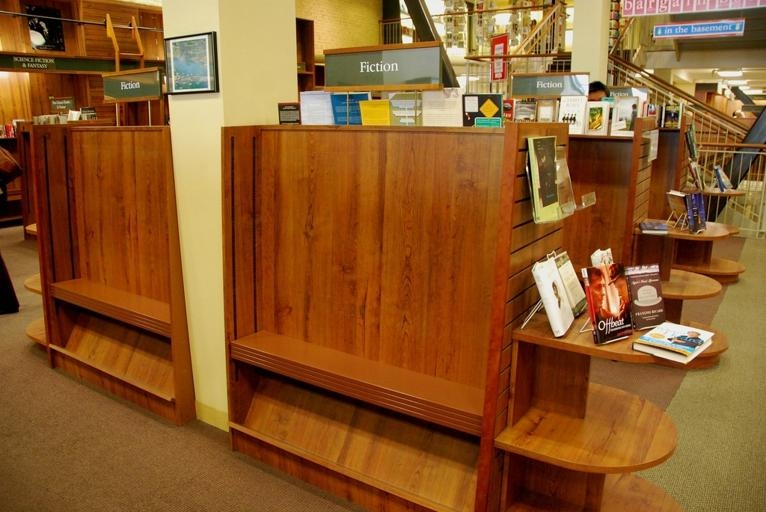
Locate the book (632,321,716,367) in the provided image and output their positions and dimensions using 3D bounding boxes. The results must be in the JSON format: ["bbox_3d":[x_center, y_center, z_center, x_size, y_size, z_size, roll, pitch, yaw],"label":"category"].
[{"bbox_3d":[1.567,0.480,2.922,0.308,0.108,0.384,13,23,39],"label":"book"}]

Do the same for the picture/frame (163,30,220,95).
[{"bbox_3d":[-1.426,-1.398,3.975,0.516,0.413,0.028,8,22,30],"label":"picture/frame"}]

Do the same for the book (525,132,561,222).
[{"bbox_3d":[0.873,-0.425,2.975,0.059,0.522,0.488,2,10,40],"label":"book"}]
